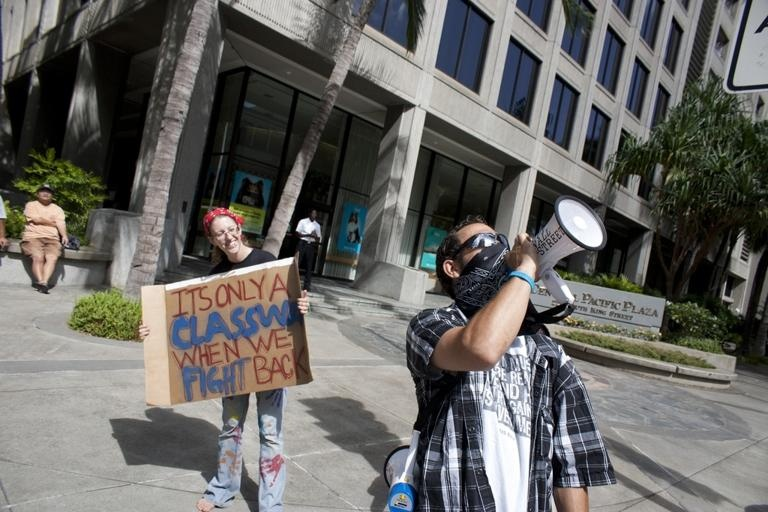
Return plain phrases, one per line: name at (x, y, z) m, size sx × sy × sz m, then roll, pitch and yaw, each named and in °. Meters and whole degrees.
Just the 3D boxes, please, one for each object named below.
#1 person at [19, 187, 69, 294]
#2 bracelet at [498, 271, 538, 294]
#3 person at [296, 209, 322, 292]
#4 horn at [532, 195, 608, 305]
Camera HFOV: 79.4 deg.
person at (-6.790, -0.414, 9.366) m, size 1.134 × 2.234 × 0.760 m, roll 0°, pitch -4°, yaw 43°
bracelet at (0.776, 0.143, 2.699) m, size 0.200 × 0.123 × 0.297 m, roll 9°, pitch 2°, yaw 13°
person at (-2.189, -0.167, 13.081) m, size 0.690 × 2.257 × 0.609 m, roll 11°, pitch -4°, yaw -36°
horn at (1.069, -0.033, 2.670) m, size 0.352 × 0.651 × 0.320 m, roll 6°, pitch 3°, yaw -39°
